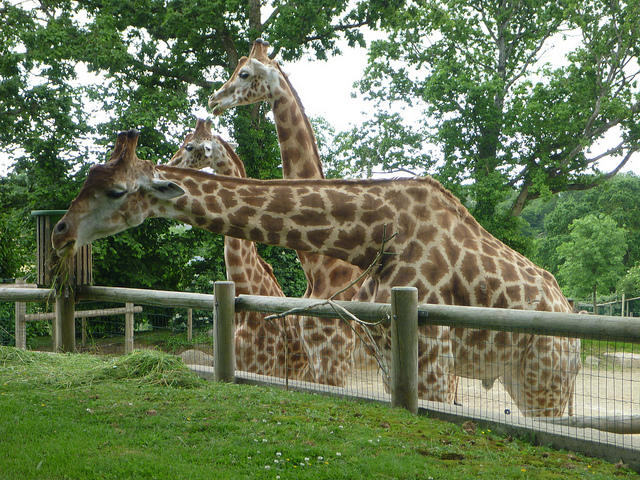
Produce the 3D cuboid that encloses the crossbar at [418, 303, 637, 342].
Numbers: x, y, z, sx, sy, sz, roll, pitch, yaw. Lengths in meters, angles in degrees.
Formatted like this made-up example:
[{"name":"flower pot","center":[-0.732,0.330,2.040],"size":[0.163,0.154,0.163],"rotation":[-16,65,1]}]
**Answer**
[{"name":"crossbar","center":[3.924,1.494,18.254],"size":[3.910,0.598,0.277],"rotation":[-1,-6,12]}]
